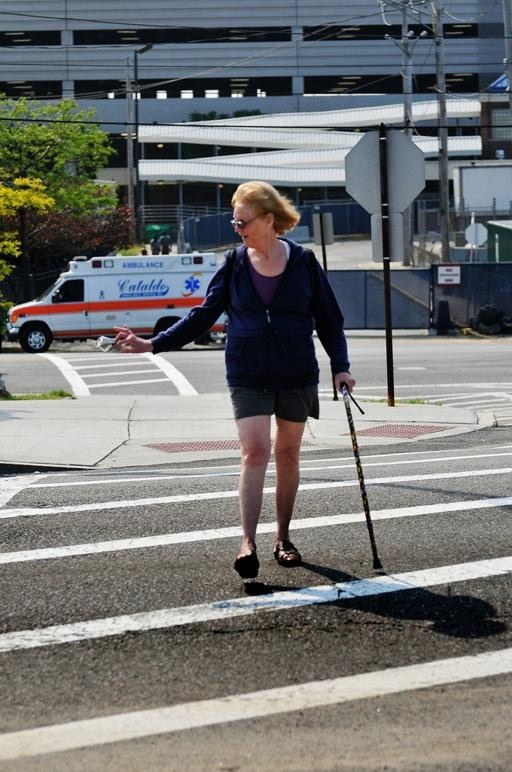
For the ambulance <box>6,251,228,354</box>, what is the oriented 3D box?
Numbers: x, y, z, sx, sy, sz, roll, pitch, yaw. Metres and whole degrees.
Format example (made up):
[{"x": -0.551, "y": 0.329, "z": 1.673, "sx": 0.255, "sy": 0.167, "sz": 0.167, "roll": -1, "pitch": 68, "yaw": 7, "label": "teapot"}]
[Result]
[{"x": -3.295, "y": -2.039, "z": 26.753, "sx": 5.779, "sy": 2.607, "sz": 2.330, "roll": -4, "pitch": 4, "yaw": -10, "label": "ambulance"}]

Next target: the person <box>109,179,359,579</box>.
[{"x": -0.063, "y": -0.069, "z": 5.118, "sx": 0.725, "sy": 1.776, "sz": 0.951, "roll": 0, "pitch": 1, "yaw": 15, "label": "person"}]

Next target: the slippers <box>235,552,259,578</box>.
[{"x": -0.032, "y": 0.731, "z": 4.725, "sx": 0.094, "sy": 0.105, "sz": 0.116, "roll": -9, "pitch": 8, "yaw": -13, "label": "slippers"}]
